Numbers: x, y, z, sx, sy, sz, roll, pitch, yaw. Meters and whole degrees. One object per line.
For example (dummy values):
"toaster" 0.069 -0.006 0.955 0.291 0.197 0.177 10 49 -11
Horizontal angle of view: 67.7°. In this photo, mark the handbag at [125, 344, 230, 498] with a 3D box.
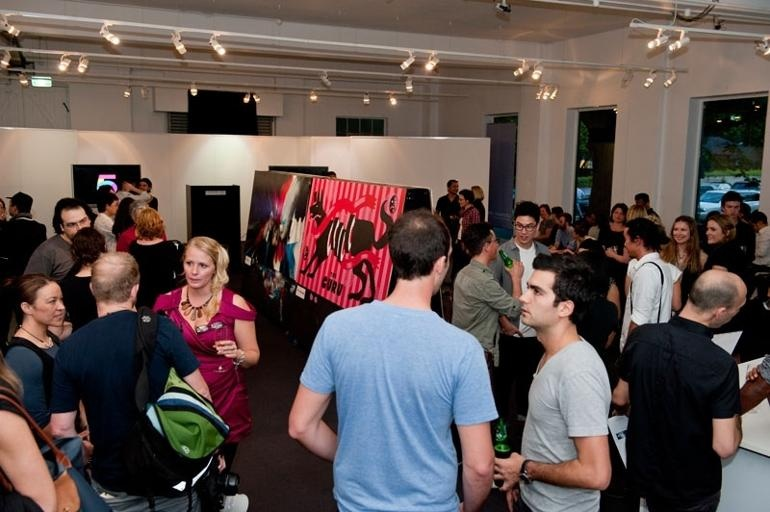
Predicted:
"handbag" -1.142 0.996 3.638 0.510 1.046 0.849 0 5 10
